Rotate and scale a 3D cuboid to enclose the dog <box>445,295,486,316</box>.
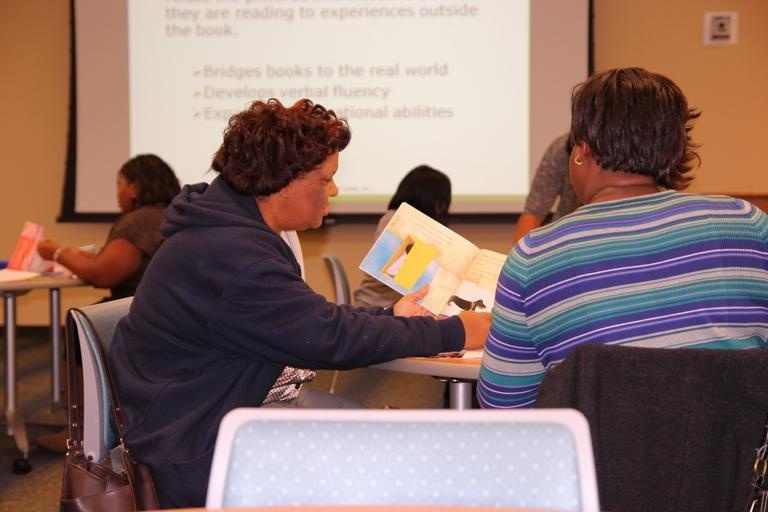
[{"bbox_3d":[0.272,0.169,2.424,0.174,0.076,0.048,0,2,22],"label":"dog"}]

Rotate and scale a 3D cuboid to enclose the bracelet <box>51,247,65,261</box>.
[{"bbox_3d":[-1.589,-0.008,3.498,0.018,0.072,0.067,19,-21,-11],"label":"bracelet"}]
